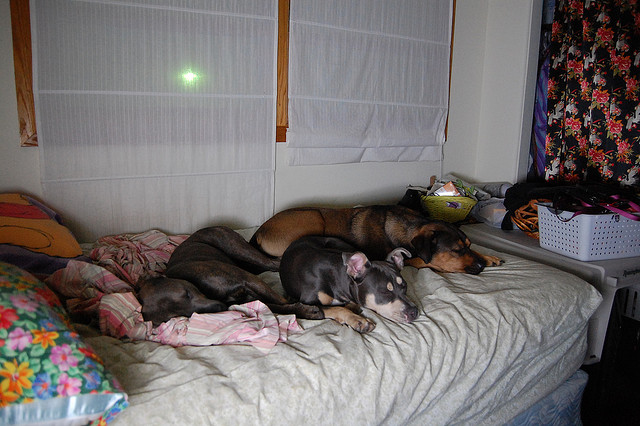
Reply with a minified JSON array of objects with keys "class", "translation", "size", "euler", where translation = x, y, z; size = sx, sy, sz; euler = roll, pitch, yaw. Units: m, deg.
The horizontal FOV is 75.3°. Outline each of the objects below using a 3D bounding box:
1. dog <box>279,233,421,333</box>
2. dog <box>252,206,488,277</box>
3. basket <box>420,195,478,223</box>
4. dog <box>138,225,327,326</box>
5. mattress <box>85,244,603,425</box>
[{"class":"dog","translation":[0.156,0.381,2.474],"size":[0.946,0.434,0.553],"euler":[14,14,42]},{"class":"dog","translation":[0.296,0.050,2.997],"size":[1.602,0.513,0.595],"euler":[5,-2,15]},{"class":"basket","translation":[1.065,-0.058,3.645],"size":[0.452,0.212,0.415],"euler":[1,15,-9]},{"class":"dog","translation":[-0.666,0.370,2.373],"size":[0.557,0.270,0.718],"euler":[-17,19,-36]},{"class":"mattress","translation":[-0.067,0.719,2.896],"size":[2.178,0.926,2.319],"euler":[-5,19,-30]}]
